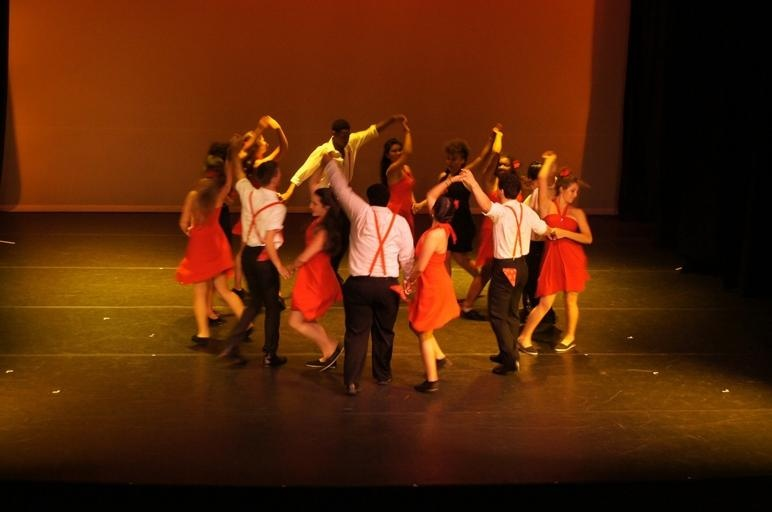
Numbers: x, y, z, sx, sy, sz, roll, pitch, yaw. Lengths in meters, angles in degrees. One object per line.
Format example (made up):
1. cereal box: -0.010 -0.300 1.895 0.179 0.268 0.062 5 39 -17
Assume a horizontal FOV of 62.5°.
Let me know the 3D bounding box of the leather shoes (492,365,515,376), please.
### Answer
1. leather shoes: 1.093 1.044 5.883 0.214 0.097 0.088 -3 10 -5

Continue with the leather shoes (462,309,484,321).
1. leather shoes: 1.002 0.661 7.230 0.226 0.092 0.117 0 6 9

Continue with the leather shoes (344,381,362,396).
1. leather shoes: -0.275 1.131 5.431 0.101 0.086 0.192 0 11 -4

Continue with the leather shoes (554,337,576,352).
1. leather shoes: 1.798 0.884 6.389 0.089 0.083 0.229 4 9 45

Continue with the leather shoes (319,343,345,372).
1. leather shoes: -0.494 0.978 5.962 0.092 0.312 0.110 26 -13 -16

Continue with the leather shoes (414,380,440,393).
1. leather shoes: 0.371 1.137 5.578 0.236 0.101 0.087 1 4 17

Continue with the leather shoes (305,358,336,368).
1. leather shoes: -0.597 1.008 5.961 0.281 0.080 0.105 4 3 2

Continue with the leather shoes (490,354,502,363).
1. leather shoes: 1.057 0.968 6.076 0.051 0.110 0.112 -5 18 -27

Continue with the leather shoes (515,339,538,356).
1. leather shoes: 1.401 0.896 6.344 0.102 0.119 0.296 -1 0 -19
